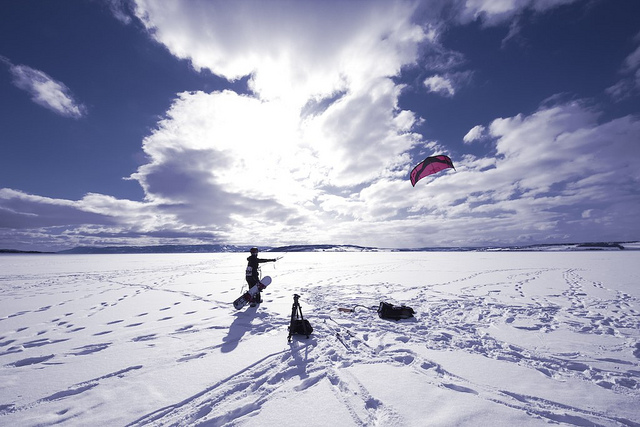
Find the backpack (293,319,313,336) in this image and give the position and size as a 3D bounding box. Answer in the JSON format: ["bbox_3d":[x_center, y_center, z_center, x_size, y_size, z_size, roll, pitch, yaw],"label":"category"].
[{"bbox_3d":[-0.688,4.632,13.988,0.656,0.269,0.625,0,-7,4],"label":"backpack"}]

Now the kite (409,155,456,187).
[{"bbox_3d":[7.002,-2.549,22.491,1.682,1.355,2.363,2,-10,-8],"label":"kite"}]

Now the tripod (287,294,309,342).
[{"bbox_3d":[-0.883,4.236,13.979,0.739,1.792,1.263,3,-9,-11],"label":"tripod"}]
